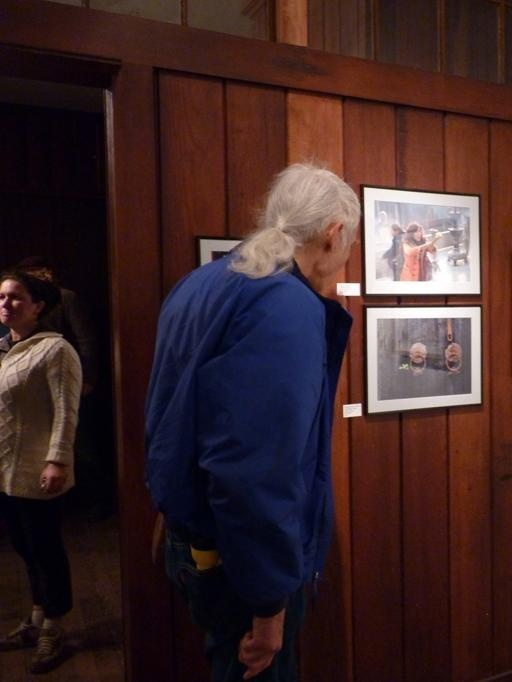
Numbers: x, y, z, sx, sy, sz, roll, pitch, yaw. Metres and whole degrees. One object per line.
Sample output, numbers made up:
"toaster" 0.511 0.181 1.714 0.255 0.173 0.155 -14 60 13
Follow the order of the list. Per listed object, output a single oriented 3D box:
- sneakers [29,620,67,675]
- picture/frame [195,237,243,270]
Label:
"sneakers" -0.684 1.017 2.435 0.061 0.102 0.208 1 14 -6
"picture/frame" -0.104 -0.234 1.969 0.107 0.141 0.012 -1 14 -21
